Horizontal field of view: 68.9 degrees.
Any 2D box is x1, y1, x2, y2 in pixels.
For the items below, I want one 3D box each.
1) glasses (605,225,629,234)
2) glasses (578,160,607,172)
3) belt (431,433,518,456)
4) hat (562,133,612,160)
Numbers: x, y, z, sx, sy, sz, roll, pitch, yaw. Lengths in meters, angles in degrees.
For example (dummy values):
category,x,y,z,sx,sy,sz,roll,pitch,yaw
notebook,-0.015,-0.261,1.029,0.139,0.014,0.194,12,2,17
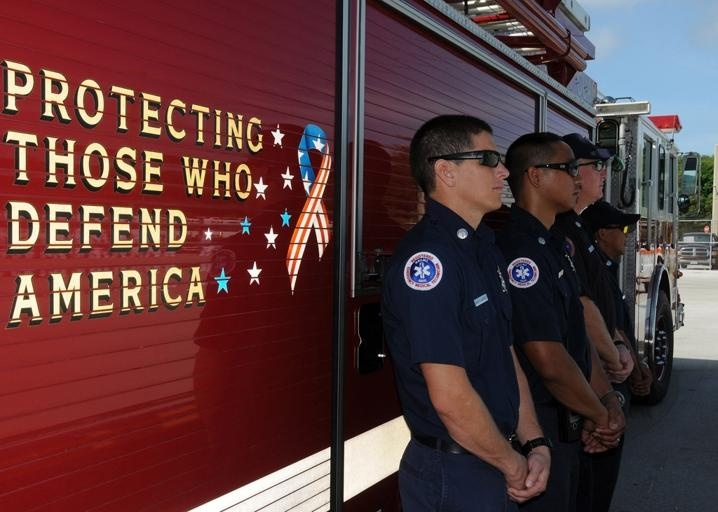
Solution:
category,x,y,z,sx,sy,sz,roll,pitch,yaw
glasses,1.970,-0.205,4.009,0.113,0.039,0.118,-1,-2,9
glasses,1.466,-0.574,3.271,0.189,0.059,0.201,0,0,28
belt,0.383,0.649,1.787,0.147,0.043,0.121,1,-4,-10
hat,1.395,-0.674,3.242,0.295,0.142,0.208,8,19,6
